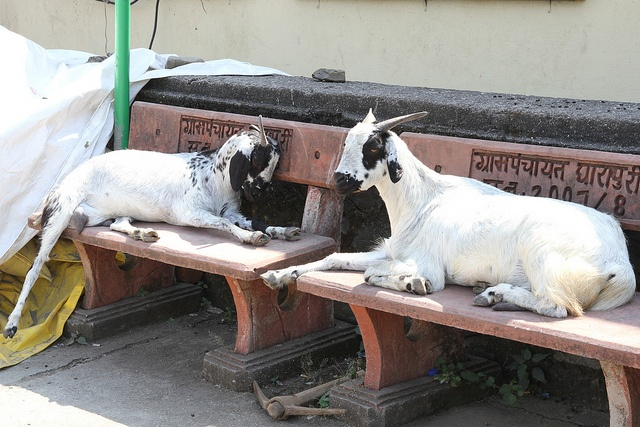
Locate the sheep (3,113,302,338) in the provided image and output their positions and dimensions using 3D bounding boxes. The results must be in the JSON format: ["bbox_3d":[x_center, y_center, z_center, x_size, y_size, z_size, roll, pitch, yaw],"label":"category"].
[{"bbox_3d":[-1.634,0.078,5.233,3.026,2.147,1.207,-3,2,10],"label":"sheep"}]
